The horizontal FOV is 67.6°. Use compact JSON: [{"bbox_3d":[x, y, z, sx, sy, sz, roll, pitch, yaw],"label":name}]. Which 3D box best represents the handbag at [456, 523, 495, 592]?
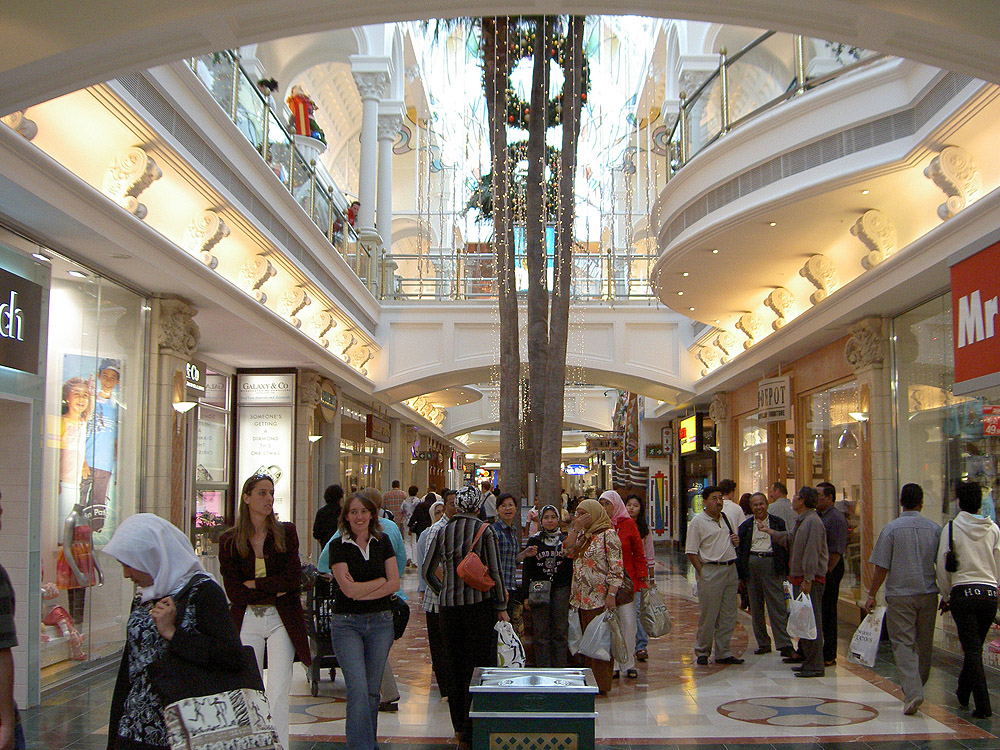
[{"bbox_3d":[-0.196,1.404,5.685,0.159,0.400,0.265,-13,-34,8],"label":"handbag"}]

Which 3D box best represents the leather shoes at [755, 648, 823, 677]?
[{"bbox_3d":[3.207,3.118,8.130,0.512,0.235,0.178,11,-5,12],"label":"leather shoes"}]

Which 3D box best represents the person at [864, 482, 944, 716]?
[{"bbox_3d":[3.585,1.965,6.604,0.631,1.975,0.369,-1,-9,10],"label":"person"}]

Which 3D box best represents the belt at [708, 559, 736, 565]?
[{"bbox_3d":[2.557,2.175,8.683,0.386,0.068,0.107,5,-11,-24],"label":"belt"}]

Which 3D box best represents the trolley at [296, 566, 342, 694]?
[{"bbox_3d":[-1.673,2.503,7.585,0.553,0.999,0.606,10,-38,-24],"label":"trolley"}]

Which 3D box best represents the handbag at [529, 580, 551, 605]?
[{"bbox_3d":[0.378,2.074,7.148,0.189,0.206,0.105,1,-22,3],"label":"handbag"}]

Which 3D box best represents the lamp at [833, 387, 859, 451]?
[{"bbox_3d":[5.520,0.648,11.652,0.279,0.996,0.263,3,13,-23],"label":"lamp"}]
